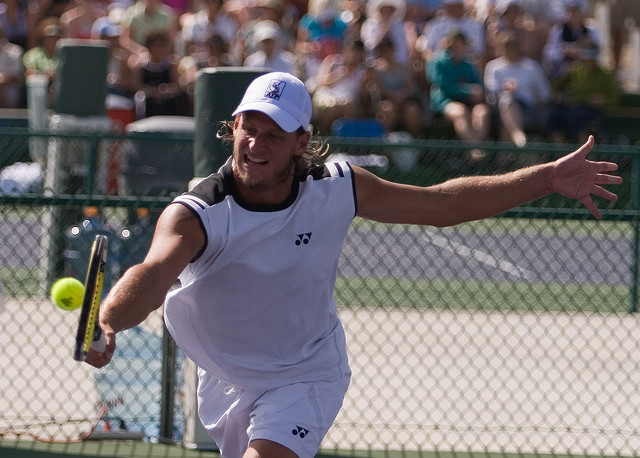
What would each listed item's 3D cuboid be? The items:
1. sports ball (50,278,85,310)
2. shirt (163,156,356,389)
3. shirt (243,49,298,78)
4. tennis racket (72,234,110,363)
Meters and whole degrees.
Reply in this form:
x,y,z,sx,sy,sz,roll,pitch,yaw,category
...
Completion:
x,y,z,sx,sy,sz,roll,pitch,yaw,category
-1.797,0.459,7.634,0.248,0.267,0.264,-2,-6,0,sports ball
-0.439,0.319,7.576,1.508,1.552,0.872,-10,14,-24,shirt
-0.619,-2.280,14.515,0.816,0.475,1.303,5,12,-6,shirt
-1.655,0.496,7.715,0.119,1.229,0.505,19,44,-1,tennis racket
